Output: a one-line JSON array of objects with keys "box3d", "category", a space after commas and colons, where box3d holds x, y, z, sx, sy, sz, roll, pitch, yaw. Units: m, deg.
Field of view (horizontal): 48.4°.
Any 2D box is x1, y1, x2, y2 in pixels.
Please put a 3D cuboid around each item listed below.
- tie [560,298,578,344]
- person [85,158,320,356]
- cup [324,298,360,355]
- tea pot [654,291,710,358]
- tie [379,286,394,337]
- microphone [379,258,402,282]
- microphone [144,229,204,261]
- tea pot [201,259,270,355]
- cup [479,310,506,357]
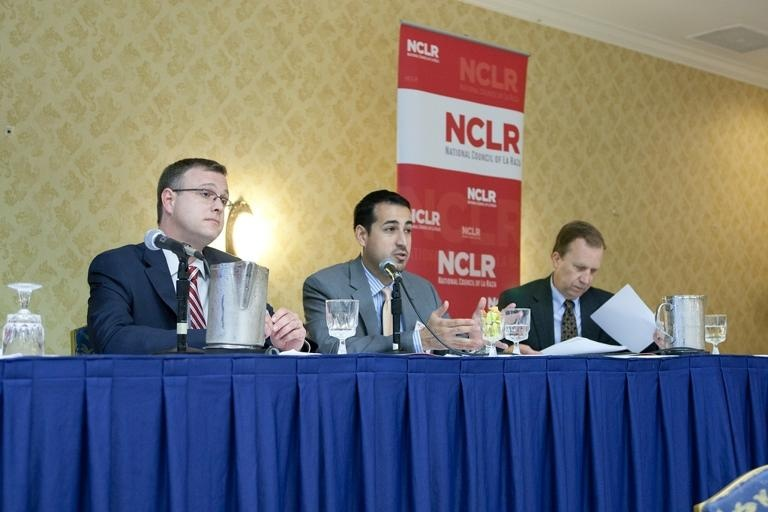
[{"box3d": [1.045, 0.358, 4.865, 0.096, 0.232, 0.125, -3, -8, 14], "category": "tie"}, {"box3d": [-0.982, -0.022, 4.374, 0.647, 1.281, 0.708, 15, -38, -40], "category": "person"}, {"box3d": [-0.181, 0.294, 3.632, 0.124, 0.240, 0.210, 0, -9, -5], "category": "cup"}, {"box3d": [1.308, 0.311, 3.826, 0.262, 0.287, 0.179, 1, -3, -21], "category": "tea pot"}, {"box3d": [0.011, 0.275, 4.398, 0.048, 0.246, 0.096, 0, -8, -6], "category": "tie"}, {"box3d": [0.026, 0.062, 4.025, 0.031, 0.082, 0.085, -32, -19, -1], "category": "microphone"}, {"box3d": [-0.904, -0.050, 3.668, 0.204, 0.065, 0.066, 23, -38, 12], "category": "microphone"}, {"box3d": [-0.550, 0.205, 3.309, 0.259, 0.425, 0.429, 4, -14, -10], "category": "tea pot"}, {"box3d": [0.482, 0.338, 3.820, 0.093, 0.224, 0.363, -2, -9, 7], "category": "cup"}]
